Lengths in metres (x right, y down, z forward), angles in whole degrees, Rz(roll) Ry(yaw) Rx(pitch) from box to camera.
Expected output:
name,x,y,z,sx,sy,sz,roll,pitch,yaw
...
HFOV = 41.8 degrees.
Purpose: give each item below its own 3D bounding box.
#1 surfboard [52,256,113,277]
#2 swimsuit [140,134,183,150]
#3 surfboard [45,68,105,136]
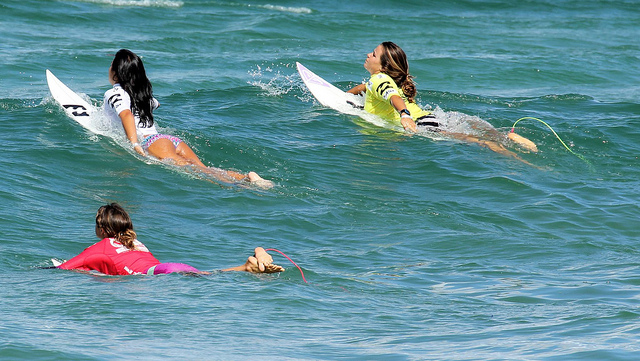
name,x,y,z,sx,sy,sz,roll,pitch,yaw
surfboard,-3.982,1.444,14.080,1.225,0.045,0.131,12,58,15
swimsuit,-3.318,-0.820,17.295,0.679,0.208,0.327,13,13,-6
surfboard,-5.613,-1.844,18.943,0.726,1.192,2.164,-18,22,-20
